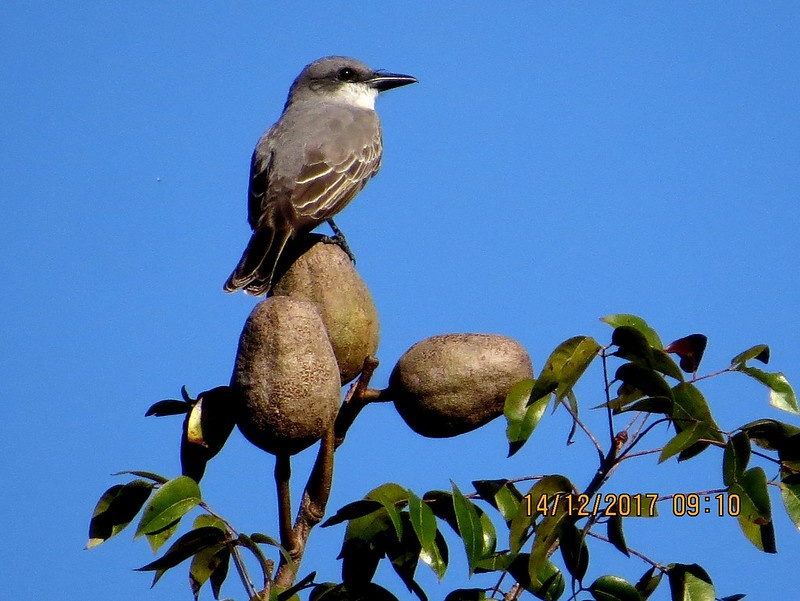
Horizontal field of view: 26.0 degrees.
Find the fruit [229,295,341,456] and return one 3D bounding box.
[{"bbox_3d":[-0.420,0.289,6.060,0.363,0.597,0.375,6,-10,-34],"label":"fruit"}]

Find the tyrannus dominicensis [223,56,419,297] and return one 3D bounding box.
[{"bbox_3d":[-0.421,-0.582,8.295,0.621,1.087,1.377,-1,10,27],"label":"tyrannus dominicensis"}]
